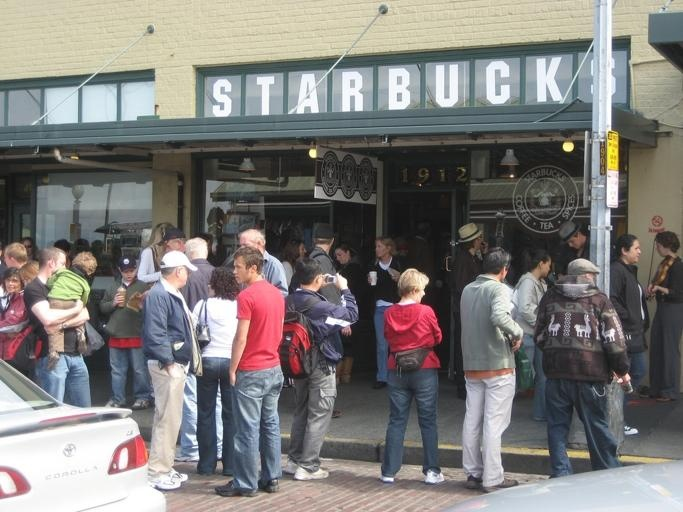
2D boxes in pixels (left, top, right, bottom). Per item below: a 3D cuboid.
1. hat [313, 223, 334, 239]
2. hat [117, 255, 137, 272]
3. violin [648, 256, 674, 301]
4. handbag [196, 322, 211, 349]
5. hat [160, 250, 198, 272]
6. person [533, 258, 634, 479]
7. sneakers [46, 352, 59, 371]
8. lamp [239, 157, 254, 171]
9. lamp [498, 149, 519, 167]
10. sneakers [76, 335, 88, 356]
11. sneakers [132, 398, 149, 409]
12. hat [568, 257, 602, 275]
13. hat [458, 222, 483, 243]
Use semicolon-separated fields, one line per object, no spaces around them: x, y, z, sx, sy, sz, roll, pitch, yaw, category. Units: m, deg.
-0.251;-0.279;12.653;0.239;0.251;0.321;2;13;8;hat
-3.041;0.074;13.736;0.225;0.163;0.311;-2;-9;-19;hat
4.440;0.293;13.432;0.144;0.515;0.381;9;22;12;violin
-1.523;0.878;10.724;0.160;0.270;0.111;-1;3;-11;handbag
-1.781;0.062;10.640;0.325;0.192;0.221;-6;6;-24;hat
2.539;1.246;10.240;0.954;2.056;0.489;0;3;13;person
-3.322;1.205;11.188;0.110;0.192;0.051;4;19;-14;sneakers
-1.544;-1.502;15.822;0.211;0.230;0.216;3;3;29;lamp
2.477;-1.444;14.230;0.231;0.174;0.234;0;0;-3;lamp
-3.070;1.040;11.509;0.109;0.252;0.214;-1;3;-12;sneakers
-2.752;2.024;13.299;0.216;0.100;0.100;5;-3;-2;sneakers
2.663;0.117;10.569;0.251;0.122;0.191;-6;9;-26;hat
1.891;-0.296;13.889;0.322;0.125;0.293;-29;16;1;hat
